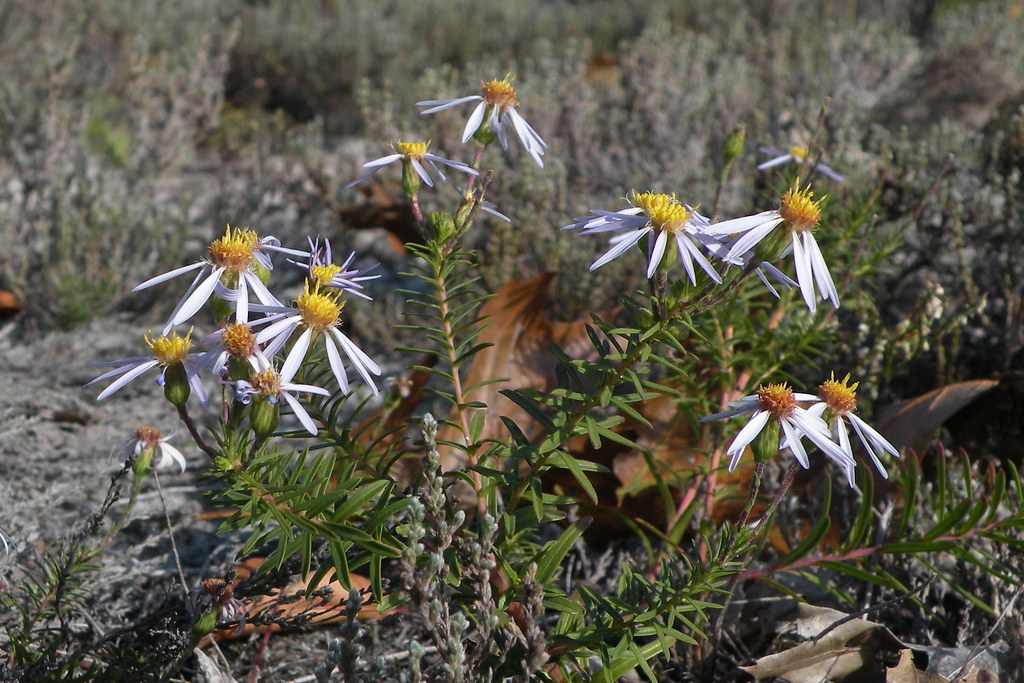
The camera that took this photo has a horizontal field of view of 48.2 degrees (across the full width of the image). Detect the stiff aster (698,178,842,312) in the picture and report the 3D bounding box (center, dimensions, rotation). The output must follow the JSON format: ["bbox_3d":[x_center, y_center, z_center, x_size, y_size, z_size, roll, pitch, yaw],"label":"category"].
[{"bbox_3d":[0.985,-0.348,4.159,0.436,0.330,0.467,13,-14,16],"label":"stiff aster"}]

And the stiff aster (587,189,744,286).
[{"bbox_3d":[0.544,-0.414,4.111,0.581,0.213,0.566,13,-6,-24],"label":"stiff aster"}]

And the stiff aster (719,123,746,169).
[{"bbox_3d":[0.891,-0.781,4.607,0.079,0.208,0.222,0,30,16],"label":"stiff aster"}]

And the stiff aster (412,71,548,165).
[{"bbox_3d":[-0.092,-0.880,4.365,0.492,0.249,0.544,9,3,29],"label":"stiff aster"}]

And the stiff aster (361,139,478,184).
[{"bbox_3d":[-0.393,-0.696,4.359,0.348,0.138,0.422,-1,0,-16],"label":"stiff aster"}]

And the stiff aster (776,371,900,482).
[{"bbox_3d":[1.228,0.314,4.156,0.205,0.405,0.410,-59,12,-20],"label":"stiff aster"}]

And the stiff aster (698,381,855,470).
[{"bbox_3d":[0.928,0.302,4.123,0.476,0.259,0.539,10,12,35],"label":"stiff aster"}]
